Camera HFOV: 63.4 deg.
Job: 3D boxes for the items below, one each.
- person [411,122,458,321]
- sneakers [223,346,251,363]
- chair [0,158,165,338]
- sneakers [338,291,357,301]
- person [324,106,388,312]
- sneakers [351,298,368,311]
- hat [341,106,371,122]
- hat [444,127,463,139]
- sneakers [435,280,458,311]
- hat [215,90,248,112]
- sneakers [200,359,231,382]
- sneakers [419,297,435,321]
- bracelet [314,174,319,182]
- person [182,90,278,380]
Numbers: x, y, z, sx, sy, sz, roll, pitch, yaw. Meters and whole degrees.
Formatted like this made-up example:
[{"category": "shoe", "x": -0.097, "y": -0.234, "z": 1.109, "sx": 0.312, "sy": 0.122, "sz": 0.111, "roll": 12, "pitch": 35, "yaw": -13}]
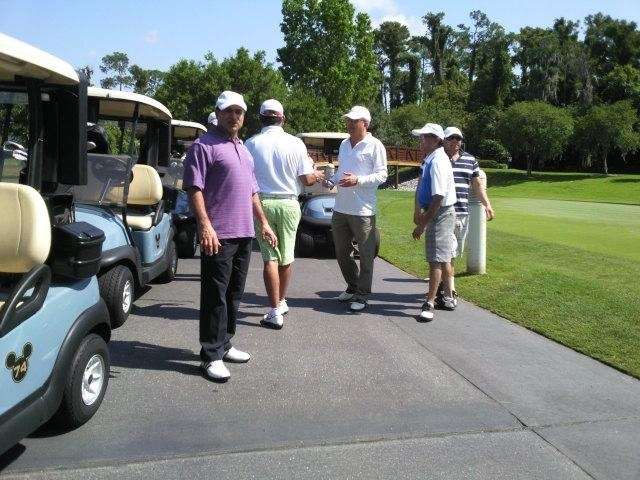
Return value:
[{"category": "person", "x": 1.248, "y": -0.220, "z": 5.465, "sx": 0.485, "sy": 2.007, "sz": 0.846, "roll": 2, "pitch": 8, "yaw": 10}, {"category": "sneakers", "x": -0.661, "y": 0.935, "z": 4.212, "sx": 0.228, "sy": 0.100, "sz": 0.094, "roll": 0, "pitch": 6, "yaw": 10}, {"category": "chair", "x": -2.207, "y": -0.139, "z": 5.201, "sx": 0.821, "sy": 1.093, "sz": 1.692, "roll": 0, "pitch": -1, "yaw": 6}, {"category": "sneakers", "x": 0.315, "y": 0.666, "z": 6.002, "sx": 0.193, "sy": 0.088, "sz": 0.080, "roll": 4, "pitch": -5, "yaw": -44}, {"category": "person", "x": 0.383, "y": -0.354, "z": 5.711, "sx": 0.574, "sy": 2.189, "sz": 0.582, "roll": 8, "pitch": 11, "yaw": 42}, {"category": "sneakers", "x": 0.424, "y": 0.701, "z": 5.607, "sx": 0.170, "sy": 0.112, "sz": 0.236, "roll": 2, "pitch": 9, "yaw": 9}, {"category": "hat", "x": 0.436, "y": -1.392, "z": 5.606, "sx": 0.279, "sy": 0.140, "sz": 0.195, "roll": 8, "pitch": 0, "yaw": -40}, {"category": "hat", "x": 1.557, "y": -1.280, "z": 6.069, "sx": 0.149, "sy": 0.111, "sz": 0.212, "roll": 3, "pitch": 1, "yaw": 3}, {"category": "sneakers", "x": 1.414, "y": 0.662, "z": 5.787, "sx": 0.141, "sy": 0.212, "sz": 0.445, "roll": 1, "pitch": 7, "yaw": 2}, {"category": "hat", "x": -0.703, "y": -1.102, "z": 4.094, "sx": 0.218, "sy": 0.194, "sz": 0.494, "roll": -1, "pitch": 9, "yaw": -11}, {"category": "sneakers", "x": -0.758, "y": 0.970, "z": 3.840, "sx": 0.101, "sy": 0.115, "sz": 0.241, "roll": -1, "pitch": 0, "yaw": -37}, {"category": "sneakers", "x": 1.103, "y": 0.720, "z": 5.312, "sx": 0.127, "sy": 0.189, "sz": 0.249, "roll": 4, "pitch": 9, "yaw": 18}, {"category": "bracelet", "x": -0.020, "y": -0.685, "z": 5.787, "sx": 0.061, "sy": 0.095, "sz": 0.031, "roll": 0, "pitch": -15, "yaw": -10}, {"category": "person", "x": -0.714, "y": -0.048, "z": 3.960, "sx": 0.417, "sy": 2.118, "sz": 0.541, "roll": 7, "pitch": 10, "yaw": 36}]
